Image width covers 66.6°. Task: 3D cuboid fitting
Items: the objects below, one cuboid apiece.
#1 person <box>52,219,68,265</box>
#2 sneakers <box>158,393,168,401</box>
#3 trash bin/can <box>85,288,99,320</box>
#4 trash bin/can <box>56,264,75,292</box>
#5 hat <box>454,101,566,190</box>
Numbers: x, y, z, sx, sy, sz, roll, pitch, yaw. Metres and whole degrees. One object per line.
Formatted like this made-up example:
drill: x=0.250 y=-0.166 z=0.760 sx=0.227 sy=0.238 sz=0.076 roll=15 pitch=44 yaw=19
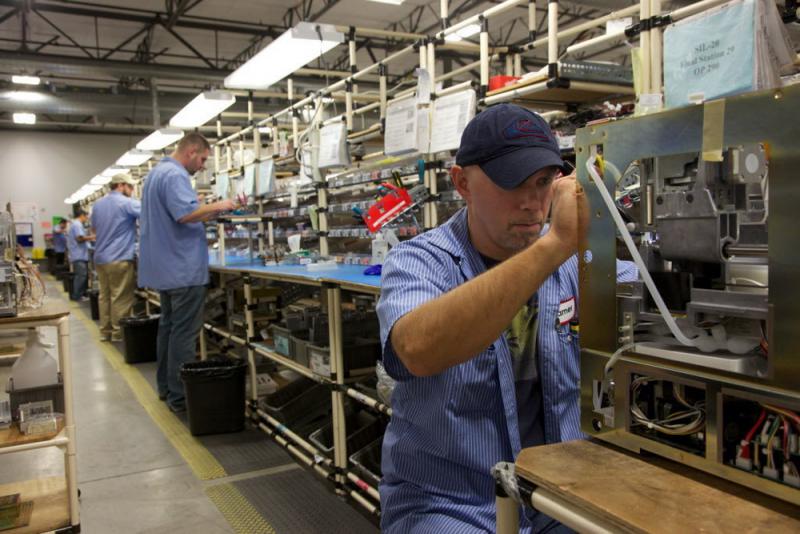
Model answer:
person: x=-9.812 y=-0.762 z=17.508 sx=0.353 sy=1.170 sz=1.132 roll=-7 pitch=16 yaw=-26
sneakers: x=-1.967 y=1.072 z=5.022 sx=0.041 sy=0.048 sz=0.111 roll=-1 pitch=0 yaw=-21
trash bin/can: x=-4.845 y=0.590 z=9.546 sx=0.323 sy=0.451 sz=0.458 roll=1 pitch=-1 yaw=-20
trash bin/can: x=-7.781 y=0.262 z=14.080 sx=0.478 sy=0.484 sz=0.591 roll=0 pitch=2 yaw=-33
hat: x=0.296 y=-0.333 z=1.687 sx=0.200 sy=0.162 sz=0.275 roll=-5 pitch=8 yaw=-25
